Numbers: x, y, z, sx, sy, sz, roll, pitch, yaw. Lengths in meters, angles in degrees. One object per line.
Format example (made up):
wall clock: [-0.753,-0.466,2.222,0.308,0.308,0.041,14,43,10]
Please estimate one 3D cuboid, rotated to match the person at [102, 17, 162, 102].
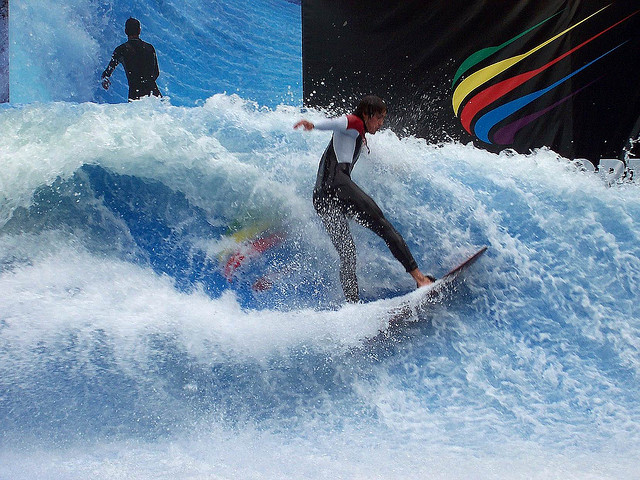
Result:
person: [-2.248,-2.181,7.777,0.645,0.852,0.577,12,37,-9]
